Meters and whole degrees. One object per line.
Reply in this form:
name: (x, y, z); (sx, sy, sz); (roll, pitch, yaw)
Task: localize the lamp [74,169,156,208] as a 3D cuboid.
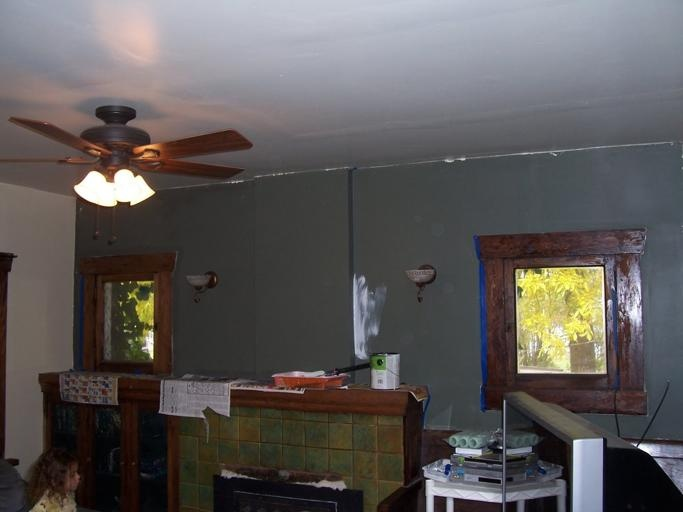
lamp: (-1.125, -0.349, 3.072); (0.305, 0.203, 0.307); (-1, -4, -1)

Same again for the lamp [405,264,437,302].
lamp: (0.581, 0.182, 4.377); (0.216, 0.265, 0.097); (0, 5, 8)

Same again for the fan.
fan: (-0.975, -0.533, 3.108); (0.718, 0.168, 0.713); (12, -18, -41)
